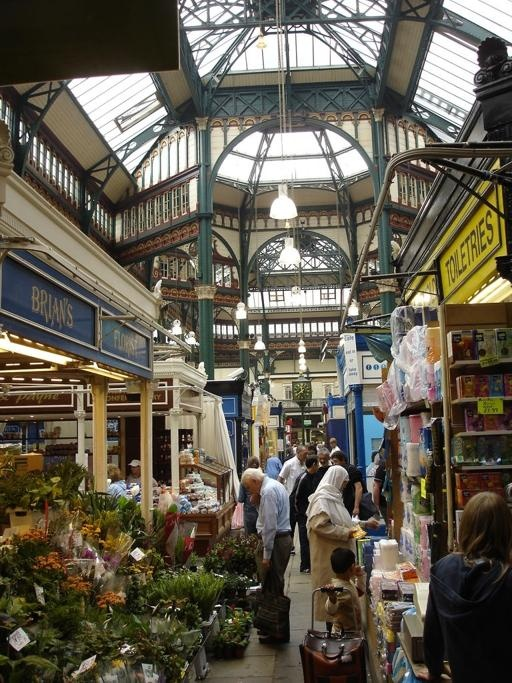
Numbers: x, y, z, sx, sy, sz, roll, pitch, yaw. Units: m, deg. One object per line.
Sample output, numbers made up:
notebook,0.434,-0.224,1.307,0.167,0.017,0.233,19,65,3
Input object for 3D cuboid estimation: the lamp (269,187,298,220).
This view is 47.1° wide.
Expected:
lamp,0.357,-2.038,8.364,0.334,0.568,0.579,-4,-11,2

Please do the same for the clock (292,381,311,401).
clock,1.891,2.062,24.468,0.753,0.919,0.785,-4,-11,0
